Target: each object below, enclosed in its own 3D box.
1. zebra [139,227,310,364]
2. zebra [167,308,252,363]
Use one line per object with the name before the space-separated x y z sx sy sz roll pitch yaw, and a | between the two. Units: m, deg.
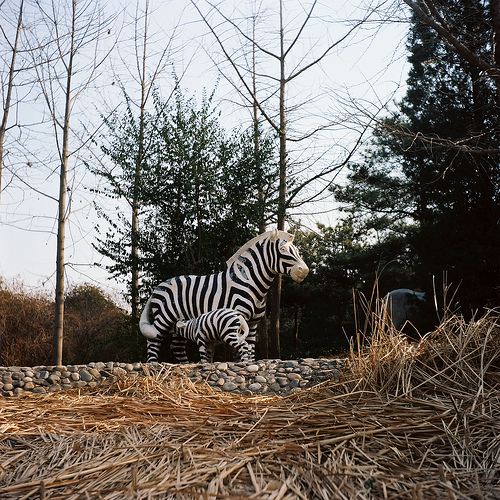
zebra | -0.426 0.651 9.540 2.182 1.713 0.640 -6 -2 20
zebra | -0.489 0.975 8.648 0.987 0.597 0.316 -1 2 20
